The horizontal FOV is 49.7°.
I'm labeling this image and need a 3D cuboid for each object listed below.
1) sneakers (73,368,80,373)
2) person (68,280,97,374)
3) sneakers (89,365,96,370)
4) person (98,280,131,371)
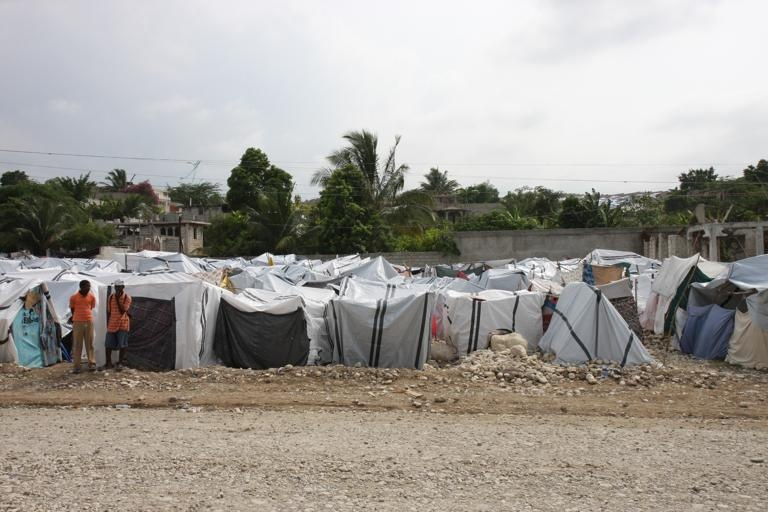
[{"bbox_3d":[-6.305,2.350,17.058,0.132,0.095,0.203,-2,1,-20],"label":"sneakers"},{"bbox_3d":[-6.268,1.428,17.341,0.475,1.887,0.701,-2,1,-18],"label":"person"},{"bbox_3d":[-6.012,2.283,17.142,0.160,0.130,0.184,-2,1,-20],"label":"sneakers"},{"bbox_3d":[-5.553,1.416,17.316,0.549,1.802,0.438,-2,1,-17],"label":"person"}]
